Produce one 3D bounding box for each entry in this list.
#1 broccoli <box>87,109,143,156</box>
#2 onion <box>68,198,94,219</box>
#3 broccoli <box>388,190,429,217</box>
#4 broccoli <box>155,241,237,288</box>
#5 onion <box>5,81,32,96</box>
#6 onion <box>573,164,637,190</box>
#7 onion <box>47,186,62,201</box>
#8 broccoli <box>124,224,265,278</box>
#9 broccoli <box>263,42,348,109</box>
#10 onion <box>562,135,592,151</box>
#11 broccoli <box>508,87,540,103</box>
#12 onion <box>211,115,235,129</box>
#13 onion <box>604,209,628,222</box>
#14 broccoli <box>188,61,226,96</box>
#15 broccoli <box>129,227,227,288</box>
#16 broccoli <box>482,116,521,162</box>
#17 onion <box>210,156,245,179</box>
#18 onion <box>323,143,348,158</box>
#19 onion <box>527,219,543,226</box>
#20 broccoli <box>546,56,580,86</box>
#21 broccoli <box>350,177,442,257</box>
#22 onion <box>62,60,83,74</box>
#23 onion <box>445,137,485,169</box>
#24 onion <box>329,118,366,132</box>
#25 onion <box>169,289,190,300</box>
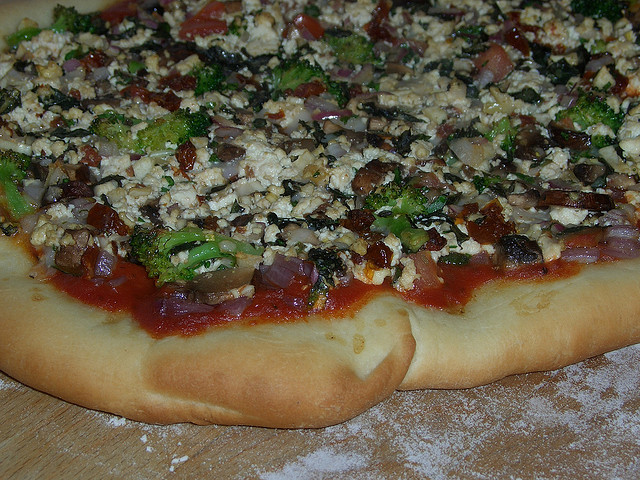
[{"bbox_3d":[-1.192,-0.618,4.312,0.374,0.079,0.204,28,63,-5],"label":"broccoli"},{"bbox_3d":[-1.307,-0.175,3.973,0.120,0.041,0.133,5,52,6],"label":"onion"},{"bbox_3d":[0.489,-0.195,4.025,0.281,0.105,0.124,-13,54,-8],"label":"broccoli"},{"bbox_3d":[-0.655,0.137,3.852,0.364,0.079,0.185,-24,63,-15],"label":"broccoli"},{"bbox_3d":[-1.833,-0.943,4.495,0.142,0.036,0.111,0,48,0],"label":"onion"},{"bbox_3d":[1.647,-0.365,4.231,0.418,0.039,0.124,10,77,9],"label":"onion"},{"bbox_3d":[-1.468,-0.256,4.039,0.085,0.020,0.066,14,71,6],"label":"onion"},{"bbox_3d":[-0.593,0.040,3.962,0.505,0.224,0.114,-17,58,32],"label":"broccoli"},{"bbox_3d":[-0.136,-1.062,4.697,0.448,0.153,0.650,-16,52,-10],"label":"broccoli"},{"bbox_3d":[1.543,-0.583,4.375,0.169,0.064,0.090,4,53,6],"label":"onion"},{"bbox_3d":[1.287,-0.901,4.547,0.111,0.052,0.142,-33,57,-21],"label":"broccoli"},{"bbox_3d":[-0.581,-0.704,4.378,0.122,0.027,0.104,7,28,-2],"label":"onion"},{"bbox_3d":[1.655,-0.140,4.073,0.095,0.020,0.071,-1,31,0],"label":"onion"},{"bbox_3d":[-0.719,-1.019,4.630,0.275,0.122,0.214,17,51,-7],"label":"broccoli"},{"bbox_3d":[-0.752,0.066,3.825,0.469,0.136,0.259,-13,79,0],"label":"broccoli"},{"bbox_3d":[1.116,-0.604,4.449,0.251,0.082,0.255,-5,81,0],"label":"broccoli"},{"bbox_3d":[-0.521,-0.411,4.208,0.191,0.072,0.096,-11,54,-6],"label":"onion"},{"bbox_3d":[0.086,-0.525,4.298,0.110,0.030,0.105,-32,57,-22],"label":"onion"},{"bbox_3d":[1.201,-0.102,4.076,0.084,0.010,0.027,-18,53,-12],"label":"onion"},{"bbox_3d":[1.555,-1.077,4.692,0.204,0.058,0.194,-39,63,-10],"label":"broccoli"},{"bbox_3d":[0.404,-0.151,3.986,0.520,0.130,0.411,-10,63,-13],"label":"broccoli"},{"bbox_3d":[-1.571,-1.093,4.682,0.133,0.091,0.089,-4,37,-5],"label":"onion"},{"bbox_3d":[0.859,-0.513,4.337,0.191,0.055,0.213,-29,76,-11],"label":"onion"},{"bbox_3d":[0.200,-0.704,4.465,0.144,0.030,0.123,9,17,-22],"label":"onion"},{"bbox_3d":[-0.720,0.276,3.755,0.067,0.018,0.057,13,35,8],"label":"onion"}]
